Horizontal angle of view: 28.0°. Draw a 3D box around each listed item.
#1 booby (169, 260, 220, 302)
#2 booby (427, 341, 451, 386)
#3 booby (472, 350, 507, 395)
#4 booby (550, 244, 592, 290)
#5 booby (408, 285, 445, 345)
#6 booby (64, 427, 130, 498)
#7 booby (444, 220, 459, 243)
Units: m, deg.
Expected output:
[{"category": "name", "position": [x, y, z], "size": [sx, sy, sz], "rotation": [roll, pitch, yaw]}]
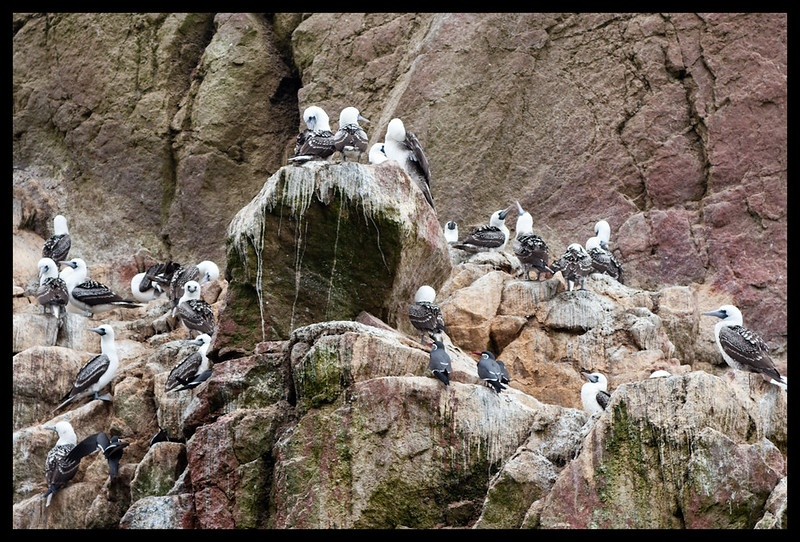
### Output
[{"category": "booby", "position": [-4.159, 0.193, 32.081], "size": [0.556, 0.473, 1.148], "rotation": [2, 3, 33]}, {"category": "booby", "position": [0.673, 1.543, 26.769], "size": [0.358, 0.730, 0.446], "rotation": [1, -7, 2]}, {"category": "booby", "position": [1.536, 1.678, 26.914], "size": [0.365, 0.559, 0.643], "rotation": [7, 13, -41]}, {"category": "booby", "position": [3.293, -0.047, 30.142], "size": [0.641, 0.845, 0.722], "rotation": [-3, -8, 28]}, {"category": "booby", "position": [0.465, 0.757, 28.289], "size": [0.626, 1.075, 0.965], "rotation": [1, -7, 1]}, {"category": "booby", "position": [-5.279, 3.362, 28.183], "size": [0.942, 0.392, 0.884], "rotation": [-26, 34, -38]}, {"category": "booby", "position": [1.051, -0.771, 32.812], "size": [0.304, 0.474, 0.482], "rotation": [1, 28, -2]}]
